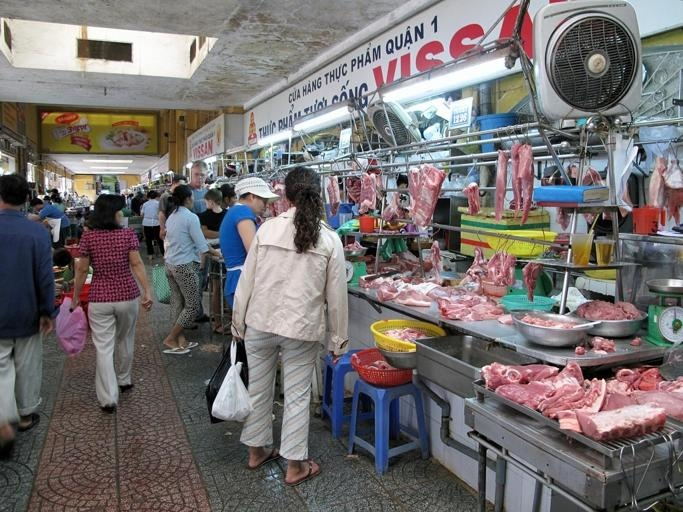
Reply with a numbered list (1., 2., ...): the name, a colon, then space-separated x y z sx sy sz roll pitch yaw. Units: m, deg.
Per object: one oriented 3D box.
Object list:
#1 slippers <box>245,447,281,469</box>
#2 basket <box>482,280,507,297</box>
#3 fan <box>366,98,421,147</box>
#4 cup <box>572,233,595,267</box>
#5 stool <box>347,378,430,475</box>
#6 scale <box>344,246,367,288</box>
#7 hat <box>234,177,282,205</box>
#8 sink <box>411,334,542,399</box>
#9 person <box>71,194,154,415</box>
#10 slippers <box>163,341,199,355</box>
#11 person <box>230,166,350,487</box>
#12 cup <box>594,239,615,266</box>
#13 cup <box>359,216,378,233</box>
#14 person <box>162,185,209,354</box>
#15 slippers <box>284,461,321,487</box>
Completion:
1. slippers: -0.578 1.440 3.571 0.242 0.142 0.105 -9 9 -44
2. basket: 1.169 0.258 3.783 0.228 0.124 0.074 9 14 43
3. fan: 0.517 -1.353 4.785 0.501 0.185 0.522 17 -25 33
4. cup: 1.385 -0.036 2.810 0.140 0.184 0.064 -3 11 -13
5. stool: 0.287 1.205 3.692 0.583 0.676 0.611 0 -1 -31
6. scale: 0.123 0.115 4.577 0.296 0.387 0.325 1 1 -17
7. hat: -0.751 -0.565 4.258 0.295 0.155 0.220 -1 4 -14
8. sink: 0.698 0.646 2.997 0.359 0.164 0.507 0 4 -18
9. person: -2.016 0.406 4.334 0.403 1.888 0.530 7 13 35
10. slippers: -1.900 1.108 5.793 0.373 0.097 0.133 -2 5 -23
11. person: -0.349 0.383 3.272 0.724 1.913 0.421 -4 11 -19
12. cup: 1.580 -0.018 2.930 0.147 0.148 0.145 -1 -2 0
13. cup: 0.248 -0.290 4.573 0.151 0.113 0.153 -1 3 0
14. person: -1.875 0.165 5.649 0.592 1.934 0.461 6 12 33
15. slippers: -0.269 1.469 3.321 0.241 0.160 0.125 -6 8 -36
